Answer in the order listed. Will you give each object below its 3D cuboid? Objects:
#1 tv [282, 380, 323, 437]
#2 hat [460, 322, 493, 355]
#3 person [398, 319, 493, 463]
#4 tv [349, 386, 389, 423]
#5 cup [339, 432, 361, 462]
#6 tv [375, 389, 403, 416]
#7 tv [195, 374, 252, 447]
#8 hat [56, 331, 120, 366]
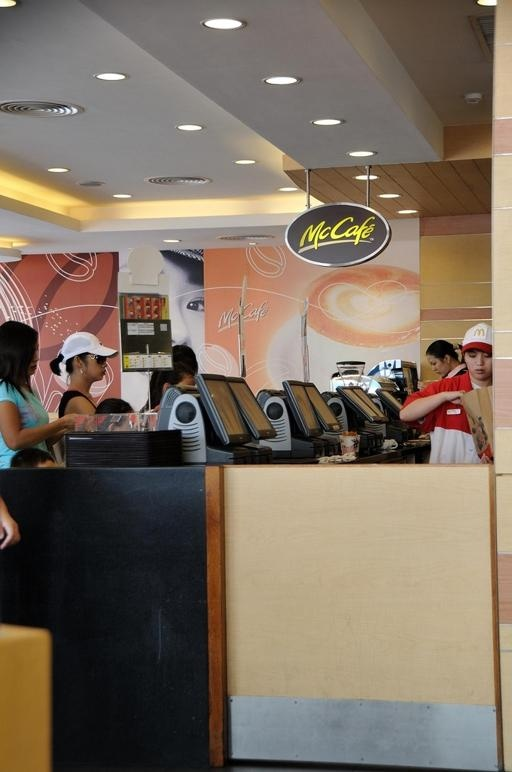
[{"bbox_3d":[0.244,0.130,3.208,0.043,0.390,0.290,-26,-14,22],"label":"tv"},{"bbox_3d":[0.838,-0.183,2.268,0.100,0.128,0.179,-3,-5,19],"label":"hat"},{"bbox_3d":[0.778,0.023,2.481,0.351,0.610,0.746,-2,-5,14],"label":"person"},{"bbox_3d":[0.855,0.144,4.508,0.040,0.273,0.295,-46,14,14],"label":"tv"},{"bbox_3d":[0.551,0.339,3.299,0.149,0.163,0.143,-1,-7,0],"label":"cup"},{"bbox_3d":[1.154,0.127,5.153,0.095,0.243,0.275,-28,-18,27],"label":"tv"},{"bbox_3d":[-0.083,0.080,2.035,0.036,0.242,0.248,-29,-17,29],"label":"tv"},{"bbox_3d":[-0.830,-0.191,2.914,0.236,0.122,0.151,-10,4,1],"label":"hat"}]
